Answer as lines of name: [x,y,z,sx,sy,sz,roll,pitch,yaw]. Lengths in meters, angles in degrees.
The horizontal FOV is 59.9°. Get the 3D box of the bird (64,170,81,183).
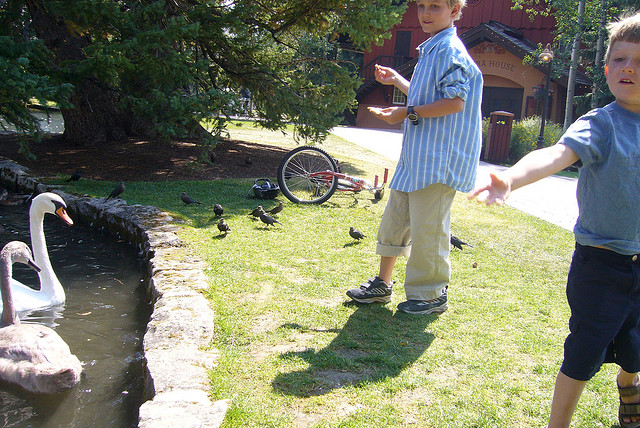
bird: [-4.517,-0.662,10.128,0.255,0.208,0.333,-4,13,-28]

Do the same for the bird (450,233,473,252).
bird: [1.894,0.402,7.671,0.410,0.172,0.120,17,-25,-21]

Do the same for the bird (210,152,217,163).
bird: [-2.484,-1.307,12.979,0.157,0.203,0.079,12,3,38]

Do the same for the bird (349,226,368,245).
bird: [0.553,0.287,7.855,0.125,0.176,0.292,-5,-1,28]

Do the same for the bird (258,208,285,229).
bird: [-0.745,0.056,8.494,0.387,0.227,0.635,3,12,1]

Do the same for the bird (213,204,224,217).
bird: [-1.568,-0.056,8.568,0.117,0.160,0.160,-4,11,-6]

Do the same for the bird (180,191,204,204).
bird: [-2.156,-0.251,9.309,0.386,0.175,0.265,-4,14,-29]

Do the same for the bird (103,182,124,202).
bird: [-3.475,-0.359,9.259,0.301,0.256,0.493,10,14,31]

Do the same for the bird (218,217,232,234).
bird: [-1.357,0.192,7.902,0.168,0.172,0.297,2,12,-3]

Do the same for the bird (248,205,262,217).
bird: [-0.988,-0.036,8.669,0.112,0.171,0.299,-5,5,-42]
